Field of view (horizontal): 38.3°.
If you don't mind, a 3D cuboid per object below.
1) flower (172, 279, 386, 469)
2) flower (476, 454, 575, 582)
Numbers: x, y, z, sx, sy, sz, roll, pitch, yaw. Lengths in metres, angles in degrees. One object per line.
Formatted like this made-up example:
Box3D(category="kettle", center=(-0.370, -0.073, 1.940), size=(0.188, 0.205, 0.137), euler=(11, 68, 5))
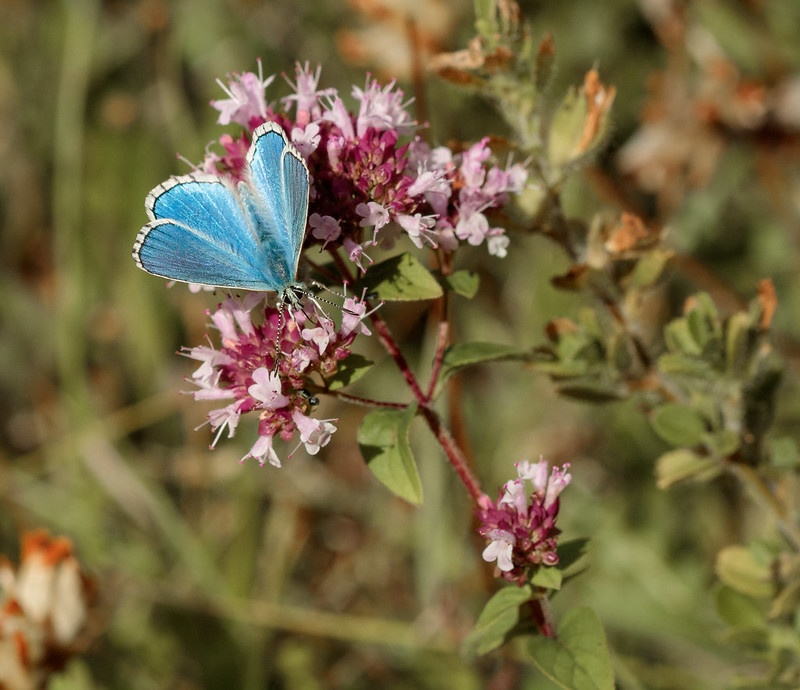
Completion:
Box3D(category="flower", center=(-0.445, 0.062, 3.786), size=(0.540, 0.518, 0.220), euler=(-46, 22, 3))
Box3D(category="flower", center=(0.411, 0.555, 3.761), size=(0.305, 0.423, 0.244), euler=(0, 93, 22))
